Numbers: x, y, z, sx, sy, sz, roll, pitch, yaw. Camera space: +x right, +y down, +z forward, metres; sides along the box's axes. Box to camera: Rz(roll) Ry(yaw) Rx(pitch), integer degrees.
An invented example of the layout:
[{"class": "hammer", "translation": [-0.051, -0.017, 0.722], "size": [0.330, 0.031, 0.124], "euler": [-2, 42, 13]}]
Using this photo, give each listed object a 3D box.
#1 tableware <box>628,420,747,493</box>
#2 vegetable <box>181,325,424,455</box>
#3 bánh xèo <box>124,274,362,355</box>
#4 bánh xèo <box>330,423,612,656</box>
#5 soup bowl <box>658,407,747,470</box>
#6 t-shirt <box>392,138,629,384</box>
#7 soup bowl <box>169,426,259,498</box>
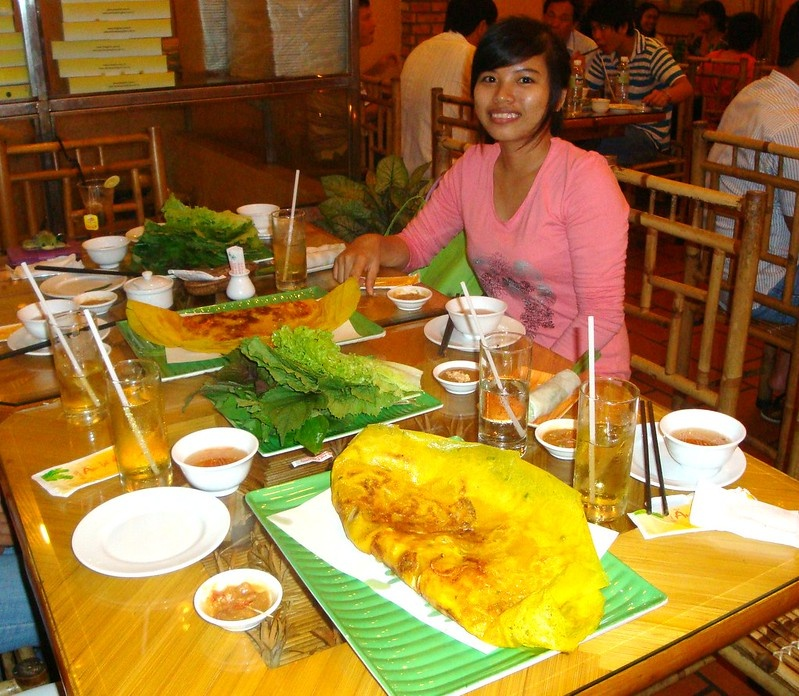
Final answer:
[{"class": "tableware", "translation": [0.421, 0.157, 0.889], "size": [0.104, 0.015, 0.102], "euler": [6, 30, 22]}, {"class": "vegetable", "translation": [-0.175, 0.031, 1.038], "size": [0.259, 0.100, 0.251], "euler": [-10, 27, -20]}, {"class": "bánh xèo", "translation": [-0.346, -0.053, 1.372], "size": [0.350, 0.070, 0.251], "euler": [-10, 26, -18]}, {"class": "bánh xèo", "translation": [0.081, 0.174, 0.694], "size": [0.181, 0.071, 0.278], "euler": [-20, 35, -33]}, {"class": "soup bowl", "translation": [0.452, 0.149, 0.923], "size": [0.109, 0.050, 0.110], "euler": [10, -11, 2]}, {"class": "t-shirt", "translation": [0.312, -0.230, 1.653], "size": [0.400, 0.582, 0.612], "euler": [-35, 51, -25]}, {"class": "soup bowl", "translation": [-0.279, 0.146, 0.883], "size": [0.106, 0.049, 0.103], "euler": [-1, 26, 0]}]
